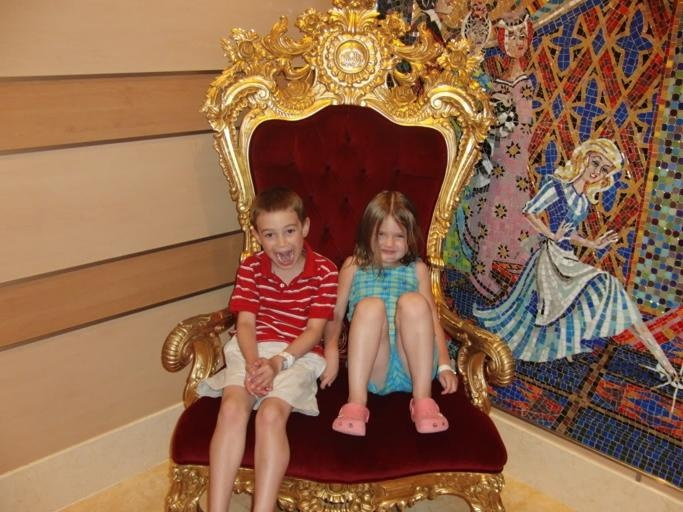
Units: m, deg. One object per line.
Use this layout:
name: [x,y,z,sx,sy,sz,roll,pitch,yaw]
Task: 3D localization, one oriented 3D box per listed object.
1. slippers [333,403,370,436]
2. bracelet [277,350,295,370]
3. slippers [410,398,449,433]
slippers: [0.040,0.629,2.007,0.154,0.110,0.111,-4,15,-9]
bracelet: [-0.221,0.421,2.108,0.046,0.070,0.028,14,8,11]
slippers: [0.345,0.611,2.026,0.144,0.116,0.132,-2,15,0]
